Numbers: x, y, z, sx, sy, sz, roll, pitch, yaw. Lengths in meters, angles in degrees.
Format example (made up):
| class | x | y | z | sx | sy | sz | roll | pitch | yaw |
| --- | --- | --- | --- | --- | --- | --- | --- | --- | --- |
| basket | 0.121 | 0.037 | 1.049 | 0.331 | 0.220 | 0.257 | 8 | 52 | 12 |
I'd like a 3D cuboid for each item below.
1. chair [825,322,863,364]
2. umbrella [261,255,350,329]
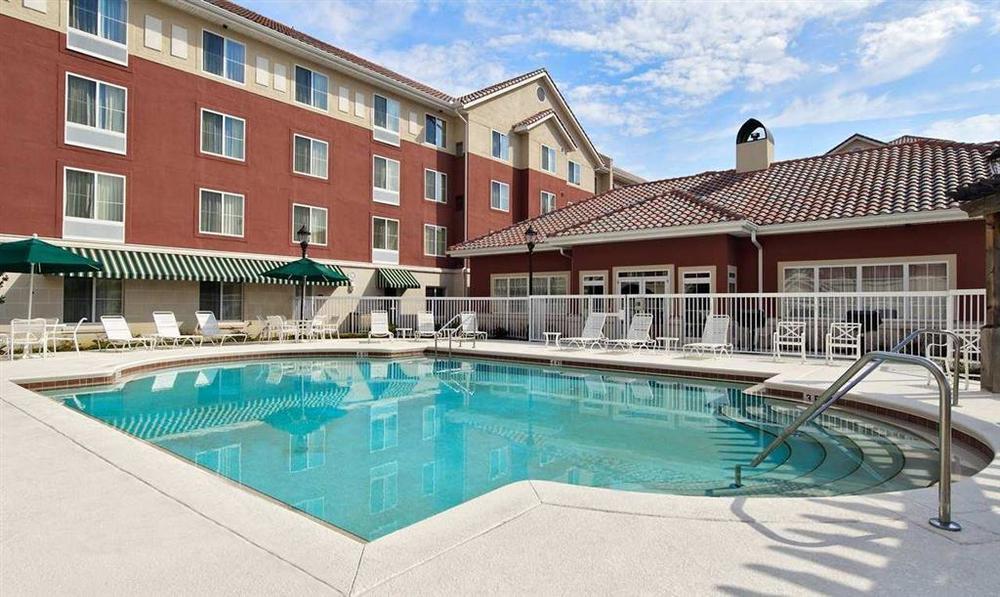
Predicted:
| class | x | y | z | sx | sy | sz | roll | pitch | yaw |
| --- | --- | --- | --- | --- | --- | --- | --- | --- | --- |
| chair | 12.725 | 1.633 | 24.119 | 1.643 | 1.969 | 1.257 | -1 | -2 | 33 |
| umbrella | -9.338 | -1.149 | 32.281 | 3.883 | 2.367 | 3.498 | 0 | -1 | -11 |
